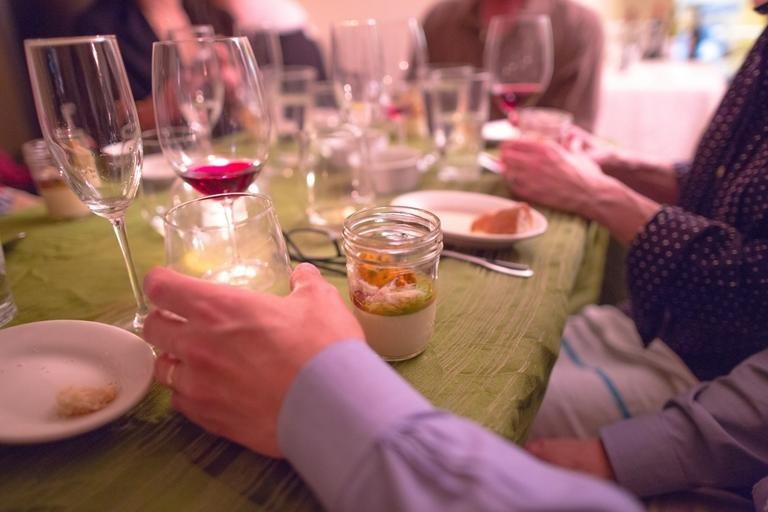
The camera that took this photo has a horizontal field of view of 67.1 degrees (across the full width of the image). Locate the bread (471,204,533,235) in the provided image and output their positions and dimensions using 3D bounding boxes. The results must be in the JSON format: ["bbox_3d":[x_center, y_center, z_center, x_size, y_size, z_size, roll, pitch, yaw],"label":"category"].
[{"bbox_3d":[0.229,-0.073,1.119,0.087,0.020,0.067,5,17,41],"label":"bread"}]

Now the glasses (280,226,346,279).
[{"bbox_3d":[-0.118,-0.032,1.113,0.112,0.034,0.109,15,37,22],"label":"glasses"}]
